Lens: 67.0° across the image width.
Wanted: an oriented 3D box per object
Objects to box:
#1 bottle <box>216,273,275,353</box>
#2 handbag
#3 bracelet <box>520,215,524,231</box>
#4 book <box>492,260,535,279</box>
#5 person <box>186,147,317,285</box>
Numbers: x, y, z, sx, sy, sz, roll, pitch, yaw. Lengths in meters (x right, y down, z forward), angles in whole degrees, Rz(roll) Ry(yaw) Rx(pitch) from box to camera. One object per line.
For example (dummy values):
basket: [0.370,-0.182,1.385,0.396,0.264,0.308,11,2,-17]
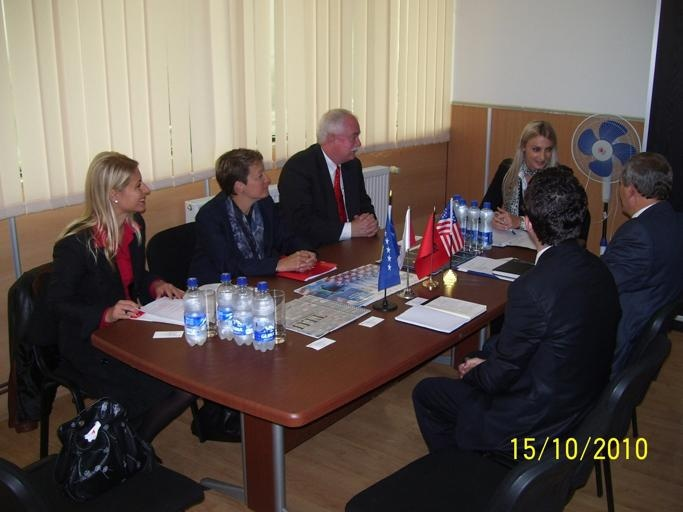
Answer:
bottle: [-0.396,0.220,2.211,0.251,0.272,0.274,2,15,4]
handbag: [-0.872,0.738,1.932,0.311,0.293,0.167,-20,3,-39]
bracelet: [1.229,-0.220,3.505,0.034,0.106,0.073,1,1,20]
book: [0.953,0.070,2.856,0.162,0.040,0.175,7,23,43]
person: [-0.530,-0.279,3.178,0.832,0.827,0.627,12,24,24]
